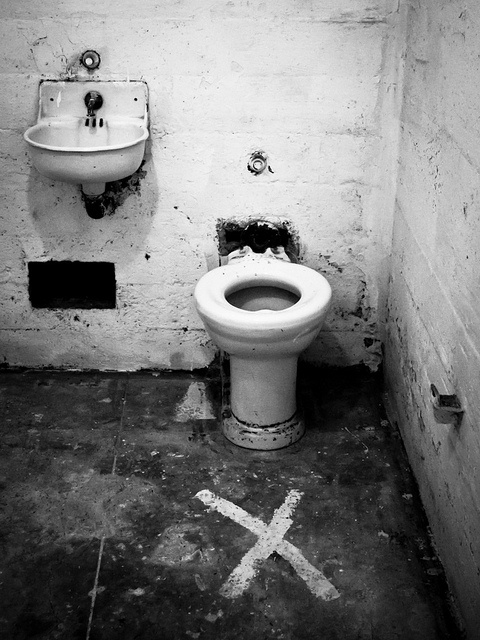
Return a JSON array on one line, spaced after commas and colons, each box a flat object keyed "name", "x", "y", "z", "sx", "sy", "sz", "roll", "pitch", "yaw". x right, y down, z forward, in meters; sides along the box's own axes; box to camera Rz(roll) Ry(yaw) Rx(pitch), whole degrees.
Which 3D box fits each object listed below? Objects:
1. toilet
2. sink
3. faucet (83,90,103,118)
[{"name": "toilet", "x": 0.075, "y": 0.095, "z": 1.712, "sx": 0.319, "sy": 0.546, "sz": 0.439, "roll": -4, "pitch": 27, "yaw": -1}, {"name": "sink", "x": -0.446, "y": -0.491, "z": 1.634, "sx": 0.349, "sy": 0.175, "sz": 0.329, "roll": -6, "pitch": 26, "yaw": -10}, {"name": "faucet", "x": -0.455, "y": -0.673, "z": 1.717, "sx": 0.057, "sy": 0.093, "sz": 0.071, "roll": 1, "pitch": 33, "yaw": -4}]
